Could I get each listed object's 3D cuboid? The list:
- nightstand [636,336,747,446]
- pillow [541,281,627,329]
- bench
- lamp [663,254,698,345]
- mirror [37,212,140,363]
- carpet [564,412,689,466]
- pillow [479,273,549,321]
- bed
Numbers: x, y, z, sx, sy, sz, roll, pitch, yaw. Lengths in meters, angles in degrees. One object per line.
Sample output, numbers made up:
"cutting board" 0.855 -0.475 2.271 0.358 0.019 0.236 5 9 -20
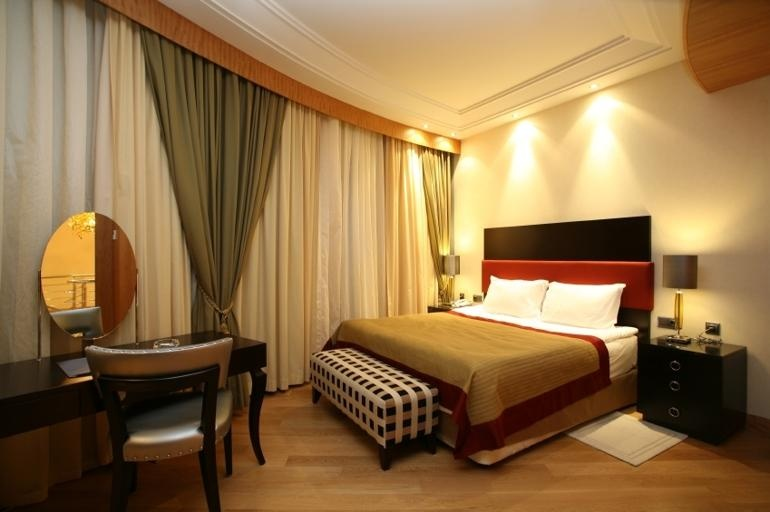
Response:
"nightstand" 2.997 1.270 5.230 0.883 0.848 0.853 2 -3 -35
"pillow" 2.157 0.582 5.892 0.310 0.585 0.879 26 -16 -39
"bench" -0.106 1.420 4.968 0.557 0.801 1.219 0 2 -43
"lamp" 2.989 0.450 5.331 0.309 0.910 0.307 2 -1 -33
"mirror" -2.590 0.206 4.708 0.788 1.441 0.055 -4 -29 -26
"carpet" 2.254 1.683 4.882 0.941 0.229 0.577 1 1 -29
"pillow" 1.559 0.526 6.381 0.744 0.475 0.283 5 -3 37
"bed" 1.085 0.628 5.950 3.027 2.070 2.906 -2 2 -43
